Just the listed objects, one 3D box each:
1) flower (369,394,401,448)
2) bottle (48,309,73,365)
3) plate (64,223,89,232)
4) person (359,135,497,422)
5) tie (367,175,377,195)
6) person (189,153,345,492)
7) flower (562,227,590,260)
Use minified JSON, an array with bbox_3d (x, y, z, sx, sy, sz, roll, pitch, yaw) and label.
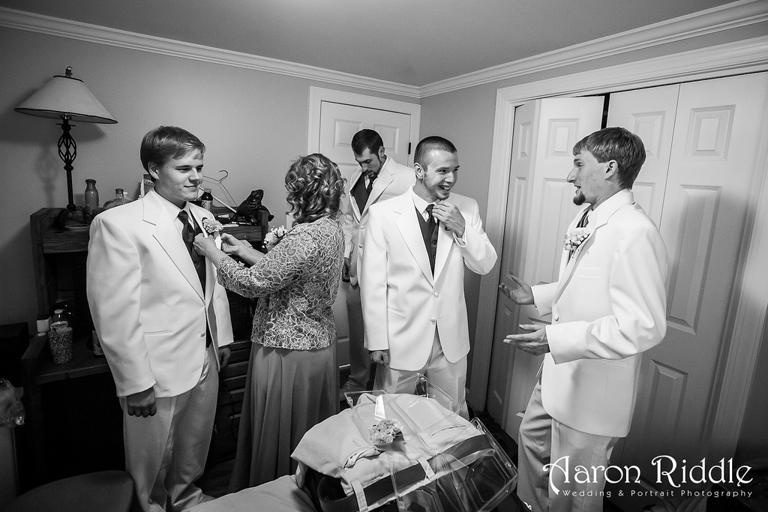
[{"bbox_3d":[-0.012,0.765,2.324,0.099,0.044,0.161,-19,32,-9],"label":"flower"},{"bbox_3d":[-2.195,0.526,3.337,0.123,0.329,0.277,-4,12,-33],"label":"bottle"},{"bbox_3d":[-2.151,-0.193,3.451,0.146,0.040,0.119,-3,13,-29],"label":"plate"},{"bbox_3d":[0.290,0.111,3.324,0.865,1.766,0.393,0,10,-16],"label":"person"},{"bbox_3d":[-0.109,-0.634,4.430,0.067,0.127,0.029,10,-4,39],"label":"tie"},{"bbox_3d":[-0.766,0.494,3.328,0.910,2.371,0.841,6,28,-7],"label":"person"},{"bbox_3d":[1.157,-0.105,2.894,0.116,0.085,0.202,11,10,4],"label":"flower"}]
